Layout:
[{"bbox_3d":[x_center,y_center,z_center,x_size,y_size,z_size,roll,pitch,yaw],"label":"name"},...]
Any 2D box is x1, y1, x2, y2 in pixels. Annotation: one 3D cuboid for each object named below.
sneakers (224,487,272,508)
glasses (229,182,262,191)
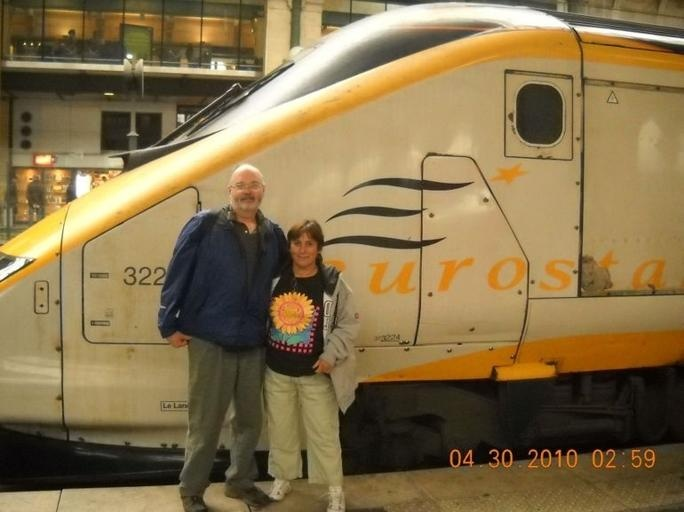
[{"bbox_3d":[-0.711,1.817,7.613,0.295,0.122,0.150,9,1,15],"label":"sneakers"},{"bbox_3d":[-0.710,-0.522,7.381,0.228,0.067,0.052,3,3,-7],"label":"glasses"}]
